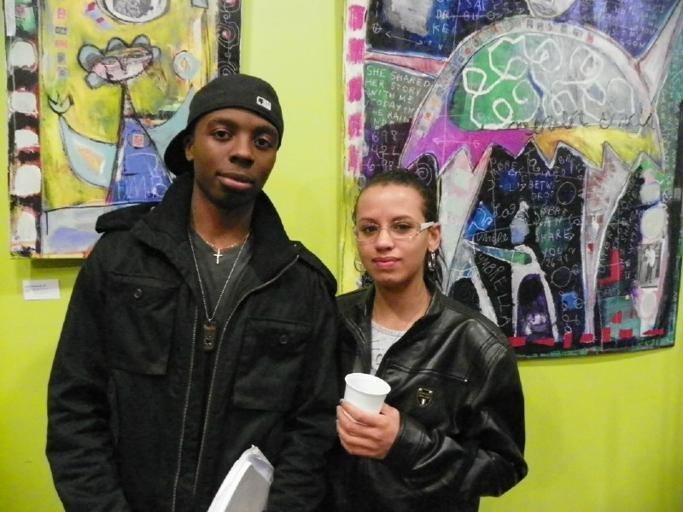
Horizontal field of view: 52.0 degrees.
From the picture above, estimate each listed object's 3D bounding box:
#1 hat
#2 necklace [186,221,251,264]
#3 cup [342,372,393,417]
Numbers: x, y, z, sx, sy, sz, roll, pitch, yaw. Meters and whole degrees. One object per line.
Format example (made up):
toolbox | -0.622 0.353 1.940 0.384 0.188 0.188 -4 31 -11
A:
hat | -0.532 -0.548 2.882 0.377 0.246 0.618 10 -21 -40
necklace | -0.486 -0.049 2.709 0.155 0.155 0.047 3 -3 -4
cup | 0.091 0.492 2.567 0.154 0.112 0.153 22 20 -8
